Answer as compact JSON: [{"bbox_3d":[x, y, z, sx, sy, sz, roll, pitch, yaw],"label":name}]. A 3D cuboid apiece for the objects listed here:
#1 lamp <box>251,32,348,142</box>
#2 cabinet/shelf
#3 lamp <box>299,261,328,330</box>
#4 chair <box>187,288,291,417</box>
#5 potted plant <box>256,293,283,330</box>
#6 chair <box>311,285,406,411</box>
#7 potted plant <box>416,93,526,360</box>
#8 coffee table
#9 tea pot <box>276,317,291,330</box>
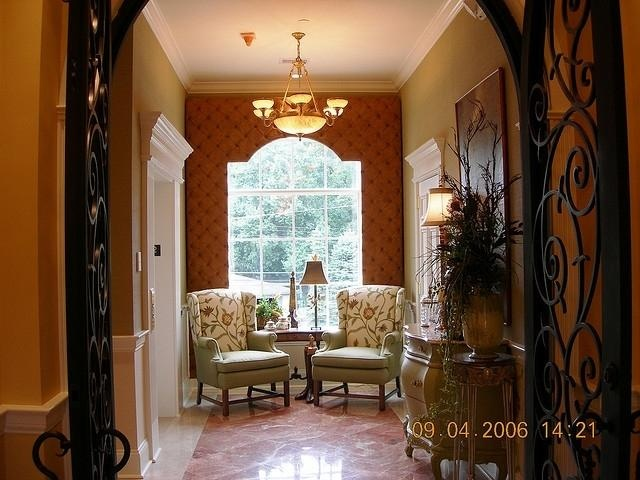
[{"bbox_3d":[-0.242,-1.597,5.469,0.909,1.198,1.002,0,-6,-1],"label":"lamp"},{"bbox_3d":[0.981,1.149,3.551,0.471,1.049,1.126,1,-5,0],"label":"cabinet/shelf"},{"bbox_3d":[-0.053,0.638,5.929,0.395,0.940,0.426,-1,3,6],"label":"lamp"},{"bbox_3d":[-0.942,1.203,5.603,0.928,1.381,1.043,-1,-8,-24],"label":"chair"},{"bbox_3d":[-0.659,0.906,6.187,0.351,0.414,0.304,2,-6,-15],"label":"potted plant"},{"bbox_3d":[0.453,1.167,5.646,0.900,1.305,1.045,-1,-7,16],"label":"chair"},{"bbox_3d":[1.108,-0.122,3.631,0.633,1.957,0.974,0,0,13],"label":"potted plant"},{"bbox_3d":[-0.168,1.410,5.911,0.604,0.965,0.756,2,-5,-17],"label":"coffee table"},{"bbox_3d":[-0.446,1.012,6.039,0.129,0.130,0.137,0,-7,0],"label":"tea pot"}]
